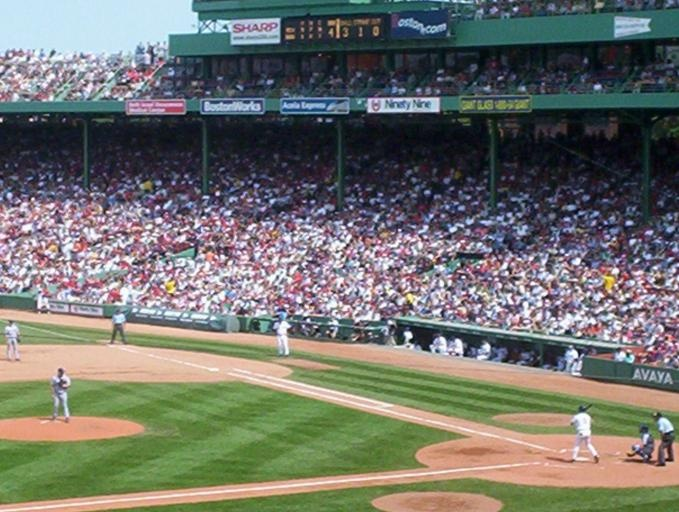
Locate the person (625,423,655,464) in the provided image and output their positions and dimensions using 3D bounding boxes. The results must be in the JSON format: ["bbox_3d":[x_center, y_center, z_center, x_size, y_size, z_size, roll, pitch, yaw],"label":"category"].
[{"bbox_3d":[12.684,7.979,63.788,0.982,1.640,0.975,1,6,28],"label":"person"}]
